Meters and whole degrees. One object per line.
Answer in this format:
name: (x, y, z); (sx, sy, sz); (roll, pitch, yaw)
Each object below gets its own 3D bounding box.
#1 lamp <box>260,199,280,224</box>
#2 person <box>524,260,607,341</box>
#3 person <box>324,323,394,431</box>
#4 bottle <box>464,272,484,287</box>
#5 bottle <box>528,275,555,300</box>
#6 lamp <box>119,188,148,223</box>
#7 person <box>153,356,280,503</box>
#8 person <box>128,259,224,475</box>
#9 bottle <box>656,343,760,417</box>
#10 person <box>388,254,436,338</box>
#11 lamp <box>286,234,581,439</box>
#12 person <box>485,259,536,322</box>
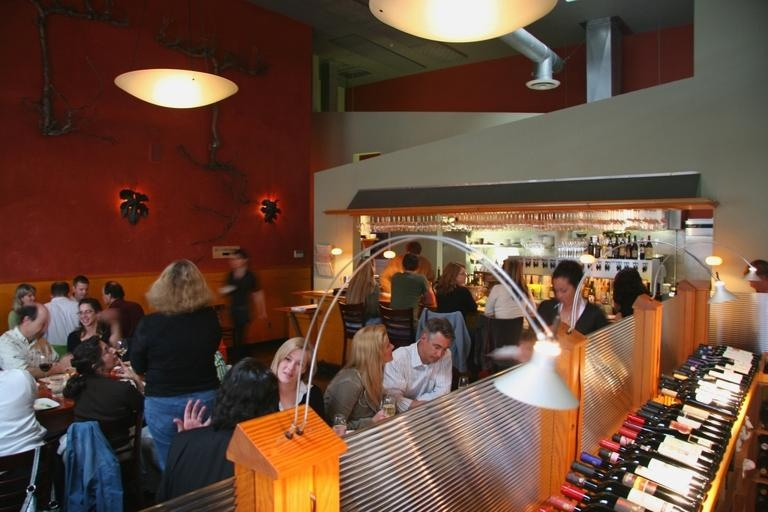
lamp: (-2.036, -0.810, 10.206); (0.203, 0.417, 0.312); (14, 3, 11)
person: (1.782, 0.415, 5.502); (0.438, 0.727, 0.832); (0, 1, -33)
person: (-0.152, 0.919, 4.674); (0.659, 0.954, 0.682); (-2, 4, -13)
bottle: (1.406, 0.367, 8.853); (0.231, 0.235, 0.235); (4, 6, 44)
bottle: (2.267, 0.461, 8.207); (0.402, 0.406, 0.301); (-2, -3, 43)
lamp: (-3.815, -0.758, 8.722); (0.097, 0.522, 0.434); (2, 5, 37)
person: (-1.089, 1.136, 3.788); (0.524, 0.815, 0.630); (1, 4, 22)
person: (-1.733, 1.219, 4.826); (0.663, 2.360, 0.699); (5, 7, 44)
bottle: (2.643, 0.977, 4.579); (0.809, 0.114, 0.449); (-12, 15, -41)
person: (0.372, 0.488, 7.689); (0.558, 1.001, 0.682); (8, 6, 24)
lamp: (0.246, 0.522, 3.176); (1.546, 1.332, 0.548); (-4, -11, 18)
person: (1.446, 0.366, 6.781); (0.525, 0.811, 0.459); (-10, 25, -24)
